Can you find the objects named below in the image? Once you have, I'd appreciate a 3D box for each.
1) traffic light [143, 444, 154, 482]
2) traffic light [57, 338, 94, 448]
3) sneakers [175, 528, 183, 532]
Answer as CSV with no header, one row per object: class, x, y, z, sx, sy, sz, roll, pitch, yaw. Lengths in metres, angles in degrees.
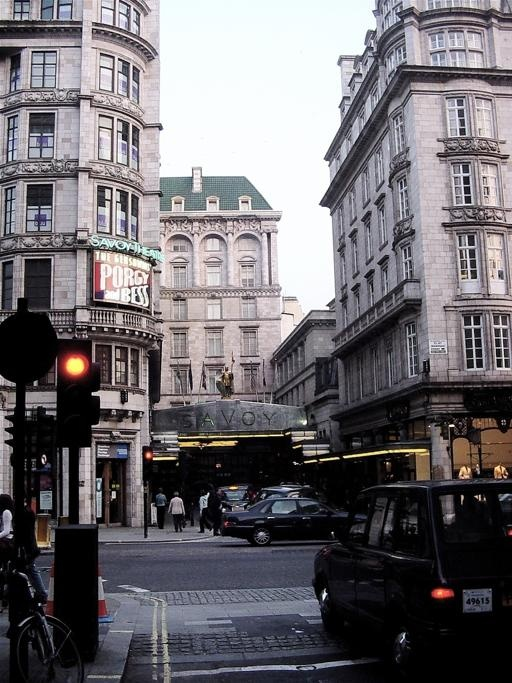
traffic light,-3.628,4.057,29.701,0.302,1.122,1.008,1,-10,-11
traffic light,-1.778,0.504,8.912,0.412,1.095,0.324,1,-10,-14
sneakers,-2.836,7.002,33.266,0.207,0.202,0.356,1,-9,-14
